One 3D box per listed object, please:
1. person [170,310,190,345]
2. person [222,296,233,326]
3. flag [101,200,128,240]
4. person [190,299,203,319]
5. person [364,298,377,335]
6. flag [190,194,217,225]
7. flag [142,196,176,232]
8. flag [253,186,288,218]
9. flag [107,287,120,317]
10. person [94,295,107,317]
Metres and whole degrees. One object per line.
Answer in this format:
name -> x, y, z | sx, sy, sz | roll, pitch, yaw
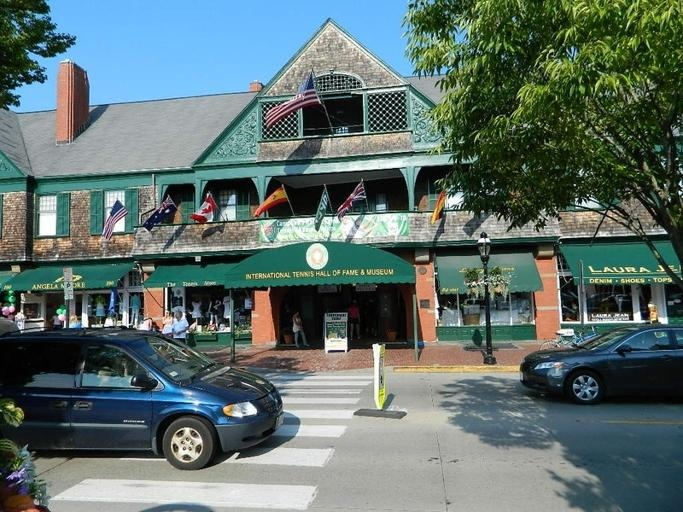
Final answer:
person -> -4.819, 2.270, 18.955 | 0.587, 1.313, 0.500 | 4, 16, 7
person -> -4.788, 2.246, 26.943 | 0.399, 1.514, 1.104 | 1, 0, -20
flag -> -9.270, -1.475, 26.226 | 0.868, 1.595, 1.760 | -2, 4, -19
person -> -6.132, 2.241, 27.210 | 0.389, 0.743, 0.221 | -2, 4, -13
person -> 1.307, 2.678, 28.292 | 0.353, 1.572, 0.714 | -4, 5, -38
flag -> -5.497, -1.933, 25.633 | 0.855, 1.284, 2.179 | -2, 4, -12
flag -> -7.207, -1.709, 25.627 | 0.835, 0.276, 2.117 | 4, 45, 4
flag -> -2.817, -2.142, 25.613 | 1.182, 1.213, 2.426 | -1, 4, -7
flag -> -9.626, 1.938, 27.090 | 0.493, 1.319, 2.107 | -2, 4, -20
person -> -10.519, 2.172, 27.992 | 0.547, 0.903, 0.226 | -3, -1, 6
